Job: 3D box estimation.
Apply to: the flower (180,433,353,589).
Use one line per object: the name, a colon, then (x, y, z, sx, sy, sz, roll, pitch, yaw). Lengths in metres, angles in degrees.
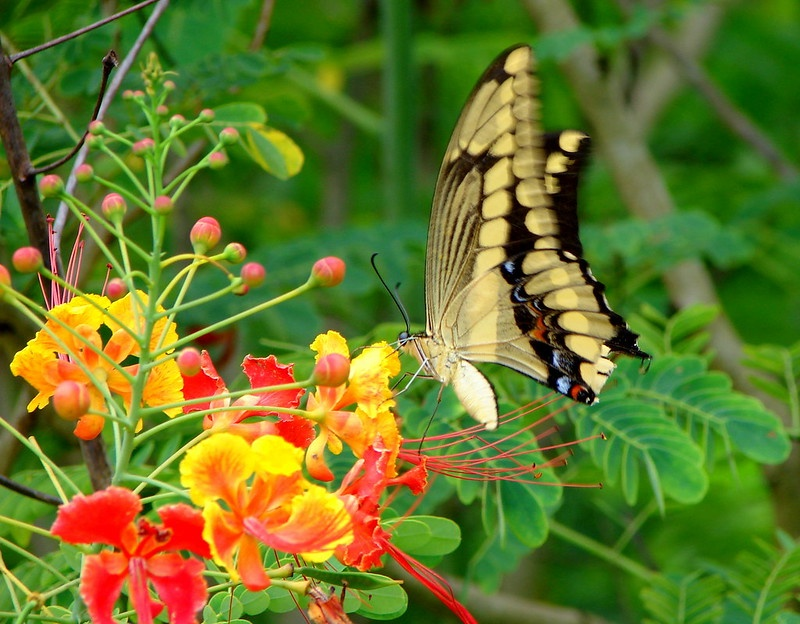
flower: (-0.362, 0.502, 2.783, 0.419, 0.433, 0.203, 3, -14, -11)

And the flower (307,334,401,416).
flower: (-0.134, 0.174, 3.178, 0.275, 0.191, 0.352, 8, 20, -5)

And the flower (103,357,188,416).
flower: (-0.710, 0.217, 3.013, 0.197, 0.186, 0.081, -7, 13, -14)

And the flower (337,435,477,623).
flower: (0.017, 0.627, 3.067, 0.434, 0.501, 0.448, 5, 21, -13)
